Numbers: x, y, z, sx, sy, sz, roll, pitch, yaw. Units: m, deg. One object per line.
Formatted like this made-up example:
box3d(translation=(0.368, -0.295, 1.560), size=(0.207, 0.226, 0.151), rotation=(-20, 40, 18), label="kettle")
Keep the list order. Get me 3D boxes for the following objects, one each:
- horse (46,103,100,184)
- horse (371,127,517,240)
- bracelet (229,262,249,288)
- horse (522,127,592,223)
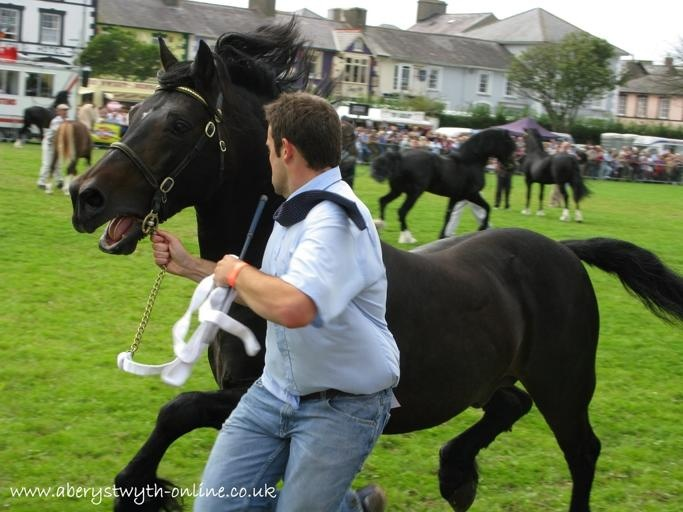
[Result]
box3d(translation=(-5.382, -2.134, 14.069), size=(0.695, 1.763, 2.457), rotation=(3, 14, -7), label="horse")
box3d(translation=(1.782, -1.223, 12.483), size=(3.163, 1.960, 0.753), rotation=(-3, 12, -29), label="horse")
box3d(translation=(-0.408, 0.076, 2.645), size=(0.029, 0.088, 0.096), rotation=(31, 2, -10), label="bracelet")
box3d(translation=(5.275, -2.025, 17.566), size=(0.927, 2.107, 3.399), rotation=(-5, 13, -13), label="horse")
